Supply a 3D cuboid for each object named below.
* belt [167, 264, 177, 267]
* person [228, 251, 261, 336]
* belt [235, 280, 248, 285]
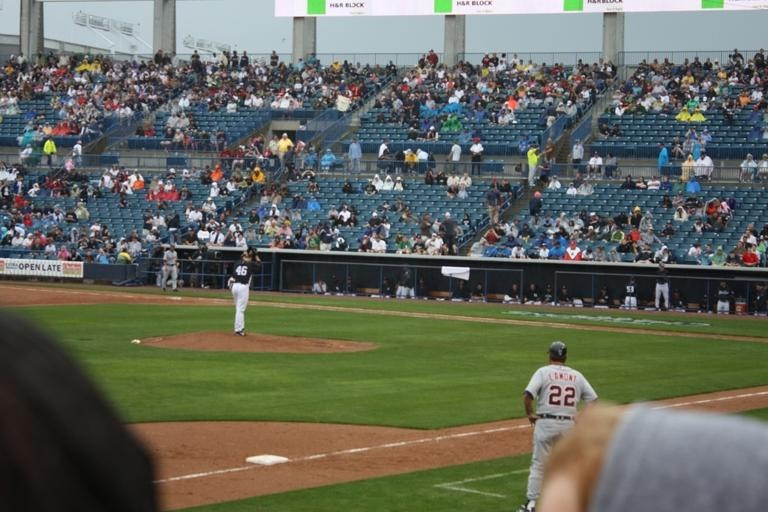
[{"bbox_3d":[-10.616,0.428,80.777,0.408,0.162,0.158,-1,5,-36],"label":"belt"},{"bbox_3d":[-5.966,1.490,68.695,1.070,3.797,1.517,2,5,-4],"label":"person"},{"bbox_3d":[-5.909,1.119,68.047,0.214,0.159,0.221,2,-5,42],"label":"belt"}]
